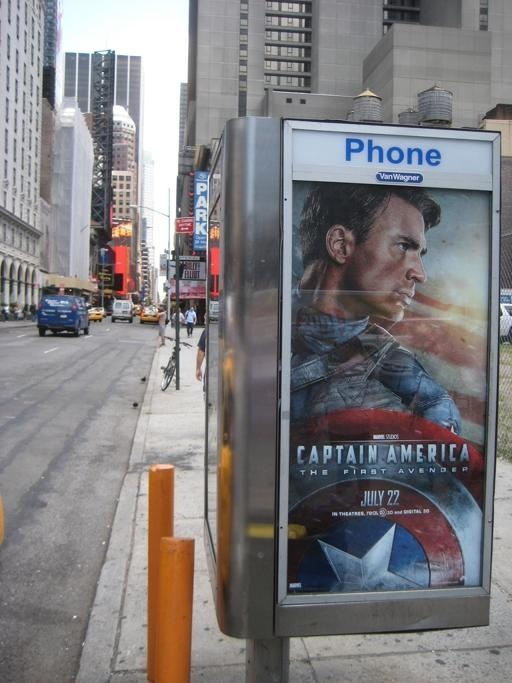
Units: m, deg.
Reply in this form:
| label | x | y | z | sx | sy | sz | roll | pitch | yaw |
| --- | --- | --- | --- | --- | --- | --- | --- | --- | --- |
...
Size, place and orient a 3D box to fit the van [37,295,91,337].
| label | x | y | z | sx | sy | sz | roll | pitch | yaw |
| --- | --- | --- | --- | --- | --- | --- | --- | --- | --- |
| van | -9.862 | -1.394 | 35.019 | 1.596 | 1.989 | 3.568 | 1 | 8 | 2 |

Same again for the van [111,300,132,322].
| label | x | y | z | sx | sy | sz | roll | pitch | yaw |
| --- | --- | --- | --- | --- | --- | --- | --- | --- | --- |
| van | -12.864 | -2.938 | 65.060 | 1.345 | 1.501 | 2.650 | 0 | 9 | -4 |
